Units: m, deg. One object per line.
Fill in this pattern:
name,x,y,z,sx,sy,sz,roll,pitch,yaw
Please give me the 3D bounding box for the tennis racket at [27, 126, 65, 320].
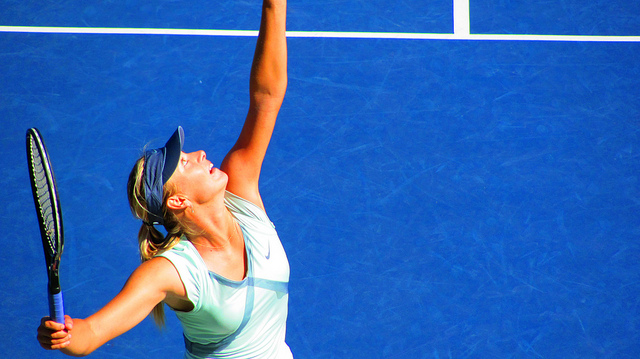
tennis racket,-3.684,0.543,12.669,0.471,2.586,0.446,3,-2,-30
